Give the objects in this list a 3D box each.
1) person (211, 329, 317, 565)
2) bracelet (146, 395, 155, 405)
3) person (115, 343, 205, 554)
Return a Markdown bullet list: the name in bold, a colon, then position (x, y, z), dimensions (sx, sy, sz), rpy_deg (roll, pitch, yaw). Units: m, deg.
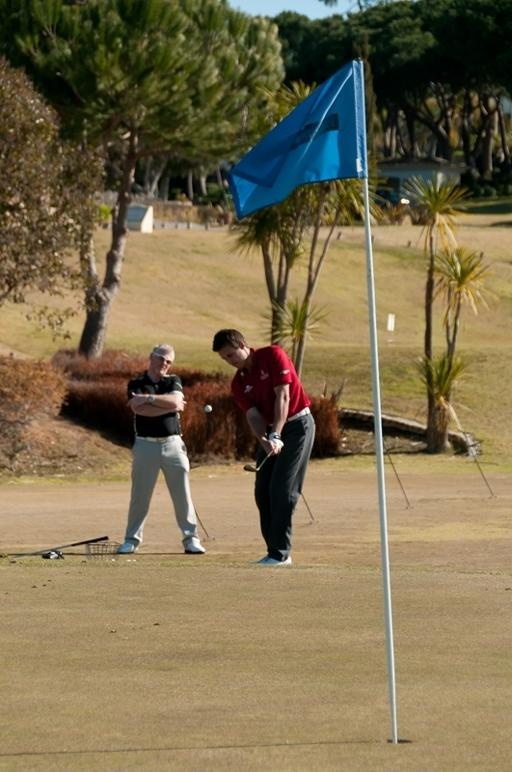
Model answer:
- **person**: position (0.070, 0.427, 12.466), dimensions (0.562, 1.624, 0.535), rpy_deg (4, 6, 38)
- **bracelet**: position (-0.765, 0.110, 12.982), dimensions (0.062, 0.066, 0.030), rpy_deg (0, 5, 3)
- **person**: position (-0.713, 0.473, 13.138), dimensions (0.471, 1.557, 0.374), rpy_deg (0, 0, -6)
